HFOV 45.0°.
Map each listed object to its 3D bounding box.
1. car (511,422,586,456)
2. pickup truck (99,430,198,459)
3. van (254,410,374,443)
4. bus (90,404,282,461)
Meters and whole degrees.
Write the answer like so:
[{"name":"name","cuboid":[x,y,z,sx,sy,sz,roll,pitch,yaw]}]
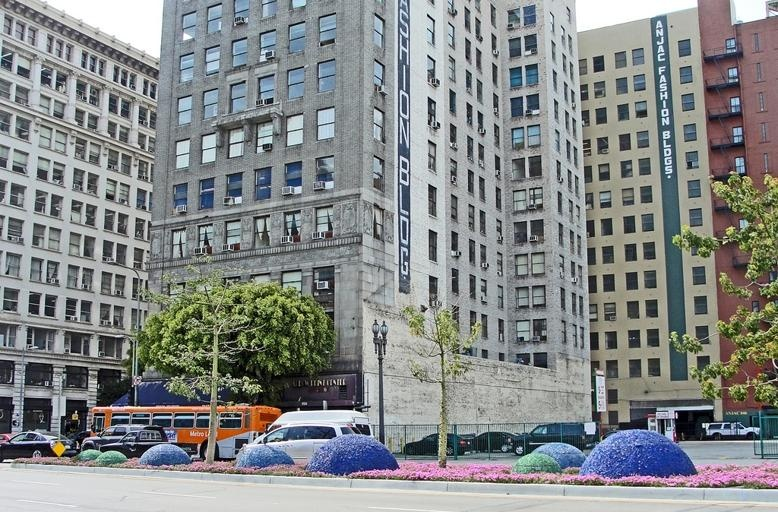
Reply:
[{"name":"car","cuboid":[13.089,14.515,75.663,6.211,2.603,3.175,3,-12,-6]},{"name":"pickup truck","cuboid":[-17.511,13.596,67.651,5.859,2.321,2.834,0,-12,11]},{"name":"van","cuboid":[-6.971,11.835,65.727,5.295,2.249,10.899,3,-8,-2]},{"name":"bus","cuboid":[-14.863,12.893,68.746,13.385,4.257,4.078,-1,-10,5]}]
